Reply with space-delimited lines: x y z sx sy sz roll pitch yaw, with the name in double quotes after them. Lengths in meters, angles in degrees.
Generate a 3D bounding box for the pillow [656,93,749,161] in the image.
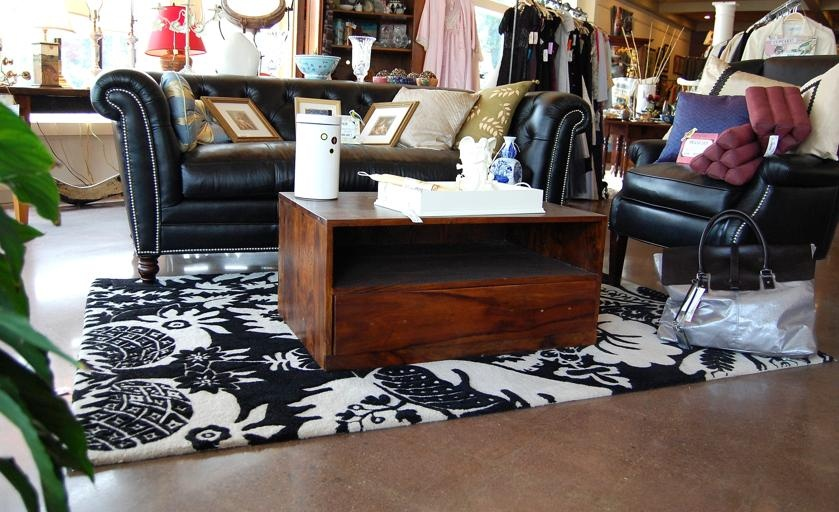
1.588 -0.760 3.039 0.455 0.369 0.141 8 -6 38 "pillow"

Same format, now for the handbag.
1.377 0.131 2.306 0.734 0.584 0.312 1 10 15 "handbag"

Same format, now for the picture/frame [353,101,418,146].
-0.203 -0.840 3.519 0.511 0.049 0.465 5 50 33 "picture/frame"

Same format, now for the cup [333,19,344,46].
-0.803 -2.254 5.490 0.109 0.229 0.122 -1 22 -8 "cup"

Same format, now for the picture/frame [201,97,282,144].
-1.110 -0.821 3.326 0.491 0.053 0.477 -12 52 -44 "picture/frame"

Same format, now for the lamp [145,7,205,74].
-1.915 -1.695 4.234 0.429 0.482 0.432 -6 23 -21 "lamp"

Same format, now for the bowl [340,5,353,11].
-0.723 -2.469 5.421 0.092 0.038 0.087 1 9 0 "bowl"
